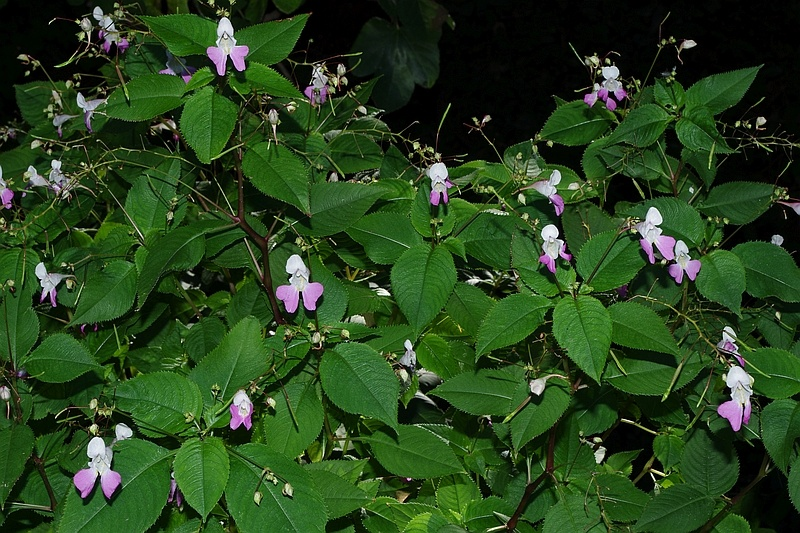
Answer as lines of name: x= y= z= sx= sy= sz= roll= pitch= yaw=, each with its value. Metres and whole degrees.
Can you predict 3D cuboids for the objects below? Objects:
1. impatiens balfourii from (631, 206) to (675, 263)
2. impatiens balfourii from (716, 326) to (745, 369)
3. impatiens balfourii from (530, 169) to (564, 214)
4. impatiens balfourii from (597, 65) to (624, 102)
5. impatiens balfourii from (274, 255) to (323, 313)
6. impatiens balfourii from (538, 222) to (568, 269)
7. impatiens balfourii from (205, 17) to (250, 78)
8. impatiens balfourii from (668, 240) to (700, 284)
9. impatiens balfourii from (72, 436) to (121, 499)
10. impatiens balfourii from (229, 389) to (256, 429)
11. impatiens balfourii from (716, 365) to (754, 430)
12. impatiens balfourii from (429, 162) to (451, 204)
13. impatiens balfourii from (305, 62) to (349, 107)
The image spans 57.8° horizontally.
impatiens balfourii: x=1.179 y=-0.126 z=3.400 sx=0.171 sy=0.264 sz=0.085 roll=-12 pitch=1 yaw=-29
impatiens balfourii: x=1.545 y=0.372 z=3.377 sx=0.055 sy=0.193 sz=0.123 roll=-28 pitch=-5 yaw=-31
impatiens balfourii: x=0.713 y=-0.363 z=3.475 sx=0.175 sy=0.147 sz=0.190 roll=1 pitch=14 yaw=-23
impatiens balfourii: x=1.138 y=-0.955 z=3.845 sx=0.129 sy=0.180 sz=0.196 roll=0 pitch=16 yaw=17
impatiens balfourii: x=-0.478 y=0.089 z=3.412 sx=0.233 sy=0.110 sz=0.322 roll=9 pitch=44 yaw=-23
impatiens balfourii: x=0.701 y=-0.082 z=3.328 sx=0.137 sy=0.206 sz=0.072 roll=-10 pitch=3 yaw=-4
impatiens balfourii: x=-0.770 y=-0.967 z=3.236 sx=0.189 sy=0.248 sz=0.149 roll=-9 pitch=15 yaw=-16
impatiens balfourii: x=1.356 y=-0.026 z=3.423 sx=0.176 sy=0.189 sz=0.098 roll=-17 pitch=19 yaw=-38
impatiens balfourii: x=-1.289 y=0.872 z=3.126 sx=0.168 sy=0.258 sz=0.095 roll=9 pitch=-31 yaw=-21
impatiens balfourii: x=-0.708 y=0.655 z=3.258 sx=0.106 sy=0.063 sz=0.197 roll=10 pitch=43 yaw=-16
impatiens balfourii: x=1.482 y=0.571 z=3.224 sx=0.158 sy=0.296 sz=0.077 roll=-1 pitch=-3 yaw=-15
impatiens balfourii: x=0.201 y=-0.387 z=3.549 sx=0.123 sy=0.212 sz=0.136 roll=-7 pitch=15 yaw=-9
impatiens balfourii: x=-0.417 y=-1.027 z=4.155 sx=0.261 sy=0.227 sz=0.214 roll=-4 pitch=15 yaw=4
